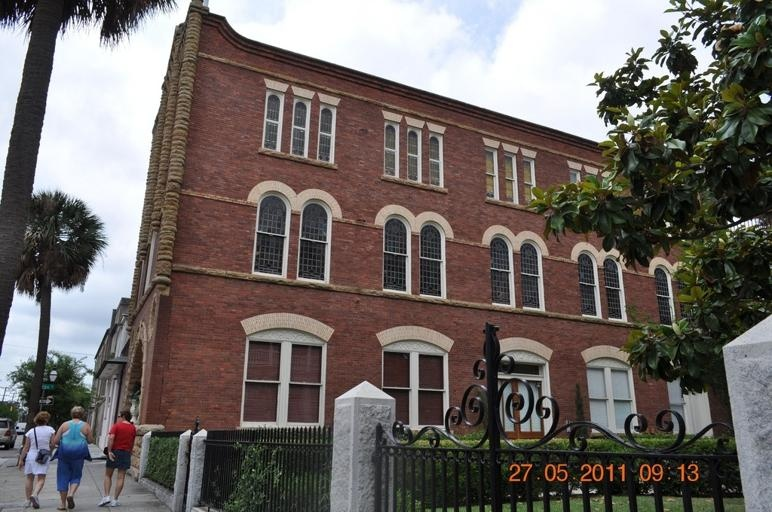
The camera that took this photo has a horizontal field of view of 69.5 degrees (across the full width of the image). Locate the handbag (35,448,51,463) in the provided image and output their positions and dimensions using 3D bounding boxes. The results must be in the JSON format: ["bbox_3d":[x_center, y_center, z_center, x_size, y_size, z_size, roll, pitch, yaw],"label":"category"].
[{"bbox_3d":[-7.659,4.529,12.493,0.174,0.307,0.292,-9,-24,27],"label":"handbag"}]

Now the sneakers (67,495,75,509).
[{"bbox_3d":[-6.860,5.412,12.145,0.177,0.281,0.526,11,-23,-21],"label":"sneakers"}]

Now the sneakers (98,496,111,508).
[{"bbox_3d":[-6.404,5.628,12.646,0.366,0.151,0.141,-32,-43,29],"label":"sneakers"}]

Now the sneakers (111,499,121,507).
[{"bbox_3d":[-6.236,5.727,12.846,0.108,0.119,0.288,-1,-22,-2],"label":"sneakers"}]

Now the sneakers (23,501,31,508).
[{"bbox_3d":[-7.893,5.531,12.288,0.159,0.143,0.144,4,-10,-20],"label":"sneakers"}]
